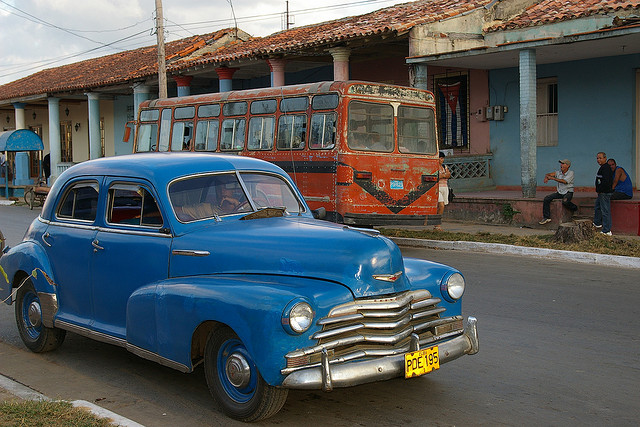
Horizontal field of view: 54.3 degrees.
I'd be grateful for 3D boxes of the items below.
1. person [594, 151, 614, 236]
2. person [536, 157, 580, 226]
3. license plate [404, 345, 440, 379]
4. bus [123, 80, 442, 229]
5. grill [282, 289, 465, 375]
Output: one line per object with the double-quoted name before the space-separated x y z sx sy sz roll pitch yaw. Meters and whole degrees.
"person" 7.111 -0.506 15.321 0.346 1.891 0.645 -3 11 -11
"person" 6.548 -0.529 16.833 1.078 1.762 0.644 2 11 12
"license plate" 1.067 1.505 6.332 0.016 0.258 0.475 23 -36 -32
"bus" -1.575 -1.499 18.579 3.511 4.110 10.481 -2 6 -41
"grill" 0.594 1.150 6.222 2.010 0.628 0.320 -6 12 -29
